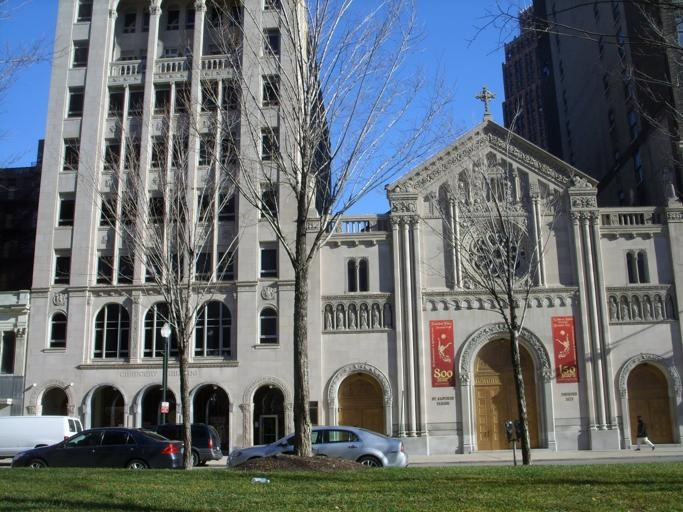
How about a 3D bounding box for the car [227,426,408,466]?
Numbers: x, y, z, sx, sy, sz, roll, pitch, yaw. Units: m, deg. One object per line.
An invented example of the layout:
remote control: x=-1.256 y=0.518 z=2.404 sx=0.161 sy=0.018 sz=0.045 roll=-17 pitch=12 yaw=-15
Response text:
car: x=-0.541 y=8.022 z=32.653 sx=6.510 sy=1.827 sz=2.457 roll=-2 pitch=-16 yaw=2
